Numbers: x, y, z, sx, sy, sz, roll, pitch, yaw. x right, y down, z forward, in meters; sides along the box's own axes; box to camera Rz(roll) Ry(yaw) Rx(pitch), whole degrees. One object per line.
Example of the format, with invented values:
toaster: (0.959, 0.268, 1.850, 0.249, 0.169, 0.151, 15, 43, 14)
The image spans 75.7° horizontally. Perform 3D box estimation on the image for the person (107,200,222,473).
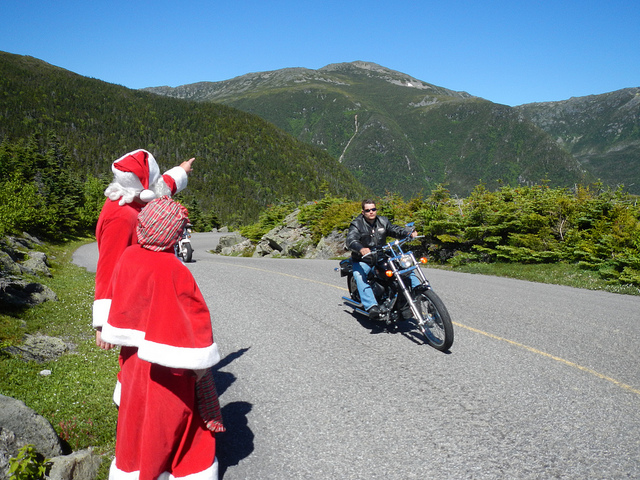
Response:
person: (-1.524, 0.964, 4.003, 1.027, 2.647, 0.612, -3, 9, -16)

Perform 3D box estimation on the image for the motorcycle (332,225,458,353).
motorcycle: (1.672, 0.871, 8.170, 1.294, 1.774, 3.019, -11, 12, -26)

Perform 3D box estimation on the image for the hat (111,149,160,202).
hat: (-1.923, -0.680, 4.441, 0.432, 0.607, 0.502, -9, -23, -22)
